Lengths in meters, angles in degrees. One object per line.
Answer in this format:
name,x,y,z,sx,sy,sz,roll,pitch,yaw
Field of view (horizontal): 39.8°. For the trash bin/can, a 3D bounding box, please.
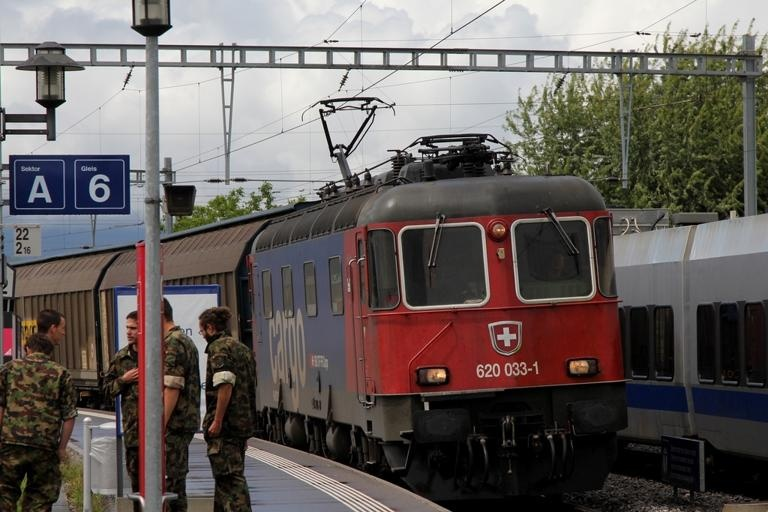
trash bin/can,-4.023,2.973,15.442,0.474,0.594,1.679,0,-2,-12
